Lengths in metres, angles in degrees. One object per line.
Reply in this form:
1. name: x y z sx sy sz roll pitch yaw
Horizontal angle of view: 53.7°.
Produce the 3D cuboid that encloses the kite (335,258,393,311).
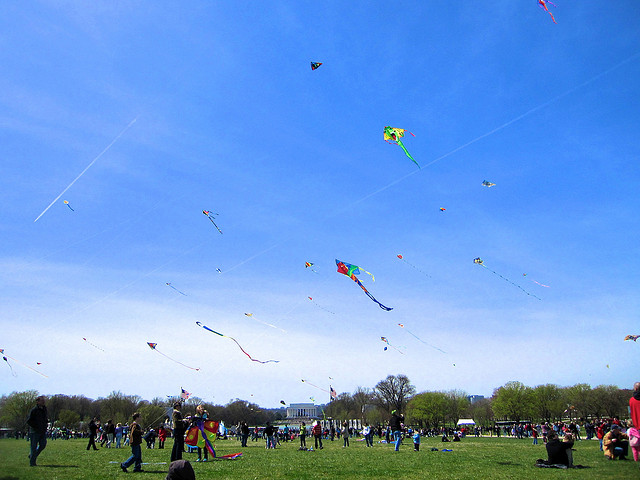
1. kite: 3.361 2.826 44.696 2.730 5.636 1.025 -15 -38 -42
